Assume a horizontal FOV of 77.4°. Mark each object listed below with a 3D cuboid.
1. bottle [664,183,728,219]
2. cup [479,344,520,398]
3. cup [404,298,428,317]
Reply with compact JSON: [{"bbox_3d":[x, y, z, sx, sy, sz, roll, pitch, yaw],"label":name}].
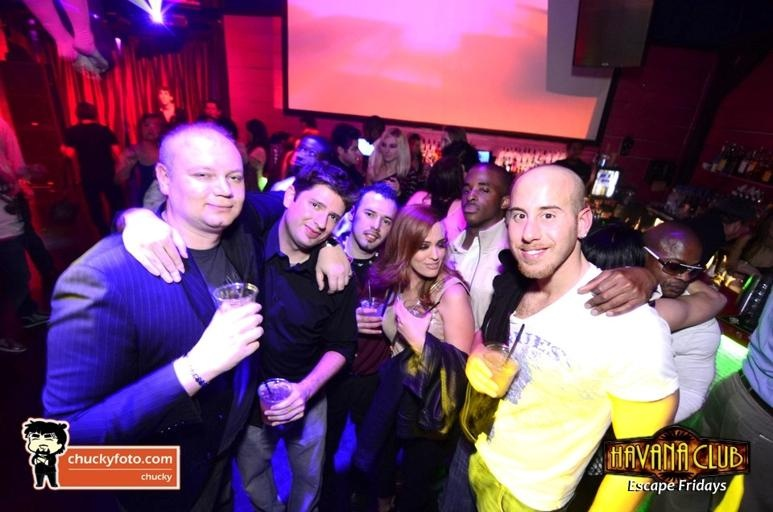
[{"bbox_3d":[4.544,-0.806,7.037,0.704,0.402,0.403,-18,30,8],"label":"bottle"},{"bbox_3d":[0.875,0.823,3.475,0.357,0.366,0.357,5,-19,2],"label":"cup"},{"bbox_3d":[0.264,0.403,3.916,0.197,0.086,0.294,0,22,-9],"label":"cup"}]
